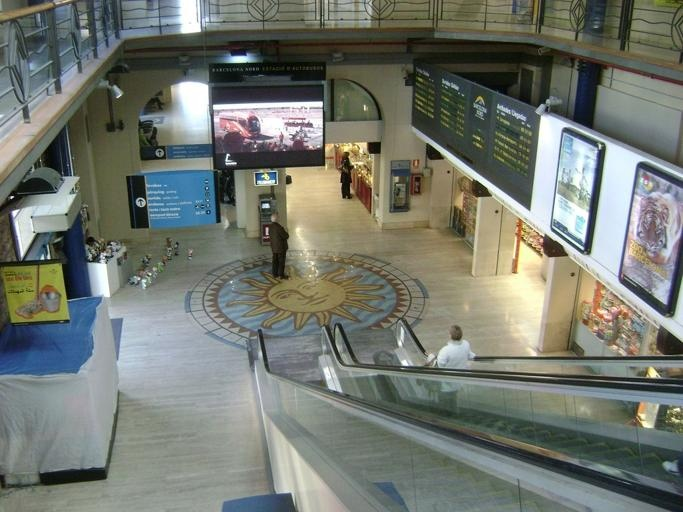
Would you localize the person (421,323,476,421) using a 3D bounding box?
[{"bbox_3d":[1.546,1.685,7.130,0.635,1.405,0.476,-9,17,-29],"label":"person"}]

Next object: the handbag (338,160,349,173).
[{"bbox_3d":[0.110,-3.337,18.322,0.376,0.606,0.557,10,4,-7],"label":"handbag"}]

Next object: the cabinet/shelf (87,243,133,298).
[{"bbox_3d":[-5.900,0.348,12.792,0.620,0.771,1.177,3,18,-2],"label":"cabinet/shelf"}]

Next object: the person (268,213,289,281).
[{"bbox_3d":[-1.658,-0.306,13.014,0.489,1.769,0.482,-7,23,-9],"label":"person"}]
